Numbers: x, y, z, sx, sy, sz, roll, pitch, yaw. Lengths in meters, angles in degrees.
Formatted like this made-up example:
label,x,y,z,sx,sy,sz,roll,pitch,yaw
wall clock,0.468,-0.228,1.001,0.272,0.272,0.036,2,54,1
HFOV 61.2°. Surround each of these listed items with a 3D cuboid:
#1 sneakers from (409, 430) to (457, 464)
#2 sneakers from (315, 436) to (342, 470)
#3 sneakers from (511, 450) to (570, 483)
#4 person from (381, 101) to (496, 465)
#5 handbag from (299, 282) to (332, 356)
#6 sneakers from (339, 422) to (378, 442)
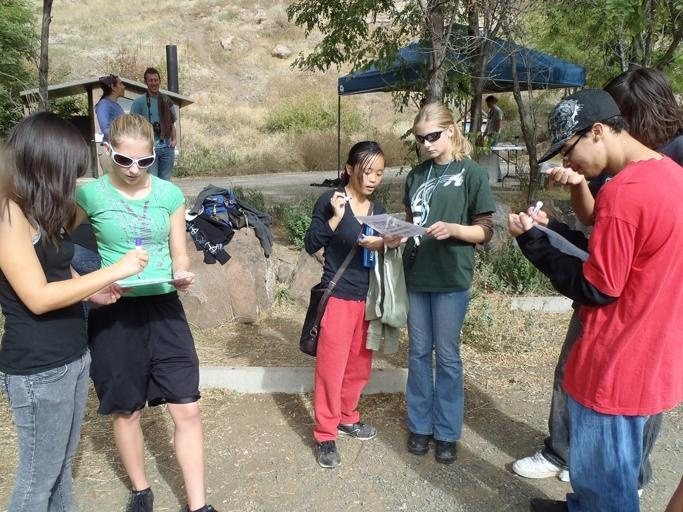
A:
label,x,y,z,sx,sy,sz,roll,pitch,yaw
sneakers,0.676,1.426,4.326,0.172,0.182,0.346,-6,6,-43
sneakers,-0.103,1.449,4.264,0.103,0.116,0.251,-1,-2,-14
sneakers,1.381,1.485,4.147,0.428,0.236,0.167,7,4,9
person,0.737,0.191,4.285,0.666,2.555,0.709,4,15,15
handbag,-0.202,0.468,4.281,0.154,0.484,0.333,7,-4,5
sneakers,0.131,1.384,4.550,0.296,0.141,0.127,4,14,9
